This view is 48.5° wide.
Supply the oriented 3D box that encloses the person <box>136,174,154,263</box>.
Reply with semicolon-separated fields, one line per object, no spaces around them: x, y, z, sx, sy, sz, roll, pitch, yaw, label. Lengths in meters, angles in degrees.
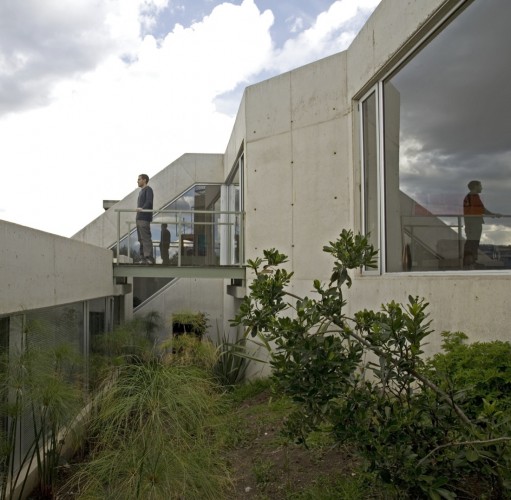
-1.733;-0.493;8.903;0.303;1.328;0.674;4;4;-13;person
